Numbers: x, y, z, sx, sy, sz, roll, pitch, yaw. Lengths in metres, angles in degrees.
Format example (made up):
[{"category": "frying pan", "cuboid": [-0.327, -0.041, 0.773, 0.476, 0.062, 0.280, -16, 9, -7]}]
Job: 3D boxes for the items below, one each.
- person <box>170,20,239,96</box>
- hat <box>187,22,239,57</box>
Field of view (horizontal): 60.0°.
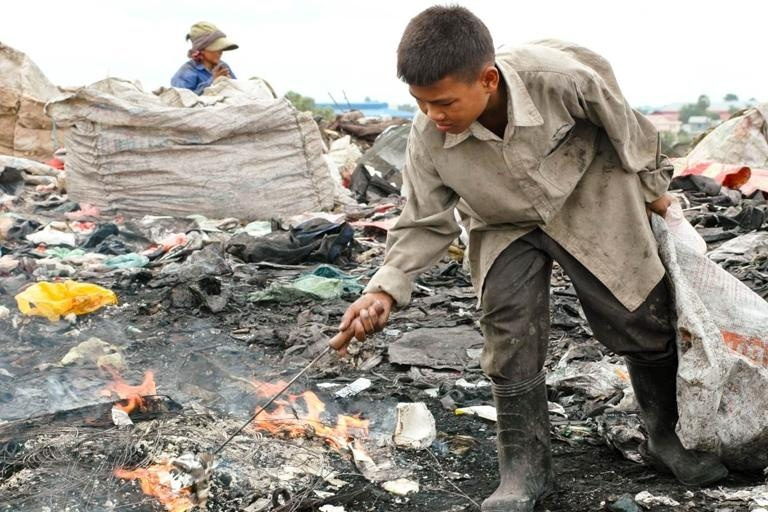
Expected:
[{"category": "person", "cuboid": [-2.419, -2.753, 9.231, 1.021, 0.869, 1.095, 16, 34, 21]}, {"category": "hat", "cuboid": [-2.302, -2.898, 8.841, 0.576, 0.389, 0.401, -5, 2, -6]}]
